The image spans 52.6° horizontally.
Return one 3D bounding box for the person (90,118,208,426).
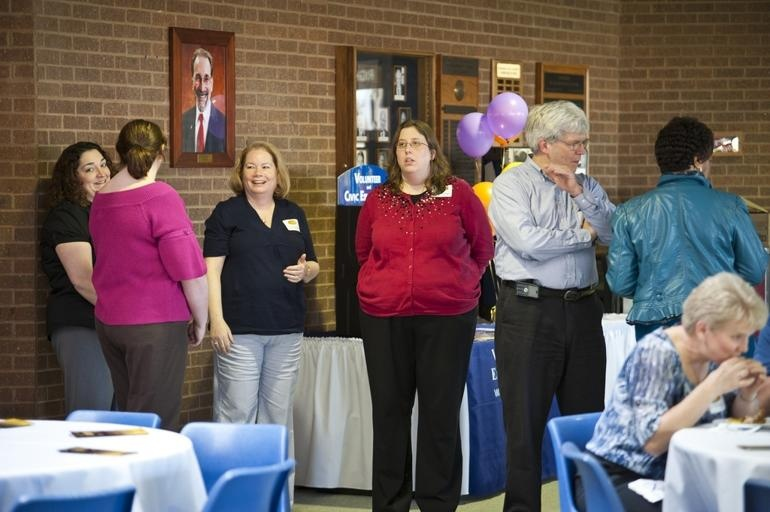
[{"bbox_3d":[-1.275,0.227,4.227,0.602,1.436,0.338,-2,4,-19],"label":"person"}]
